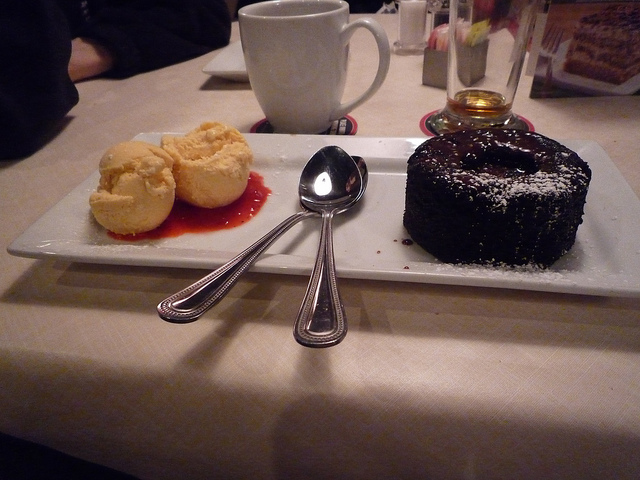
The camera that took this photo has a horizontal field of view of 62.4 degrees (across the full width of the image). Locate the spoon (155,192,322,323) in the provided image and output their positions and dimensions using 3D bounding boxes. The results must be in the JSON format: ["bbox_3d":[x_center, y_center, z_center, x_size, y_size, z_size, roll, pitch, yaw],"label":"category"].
[{"bbox_3d":[-0.109,0.012,0.759,0.082,0.031,0.277,18,31,21],"label":"spoon"}]
